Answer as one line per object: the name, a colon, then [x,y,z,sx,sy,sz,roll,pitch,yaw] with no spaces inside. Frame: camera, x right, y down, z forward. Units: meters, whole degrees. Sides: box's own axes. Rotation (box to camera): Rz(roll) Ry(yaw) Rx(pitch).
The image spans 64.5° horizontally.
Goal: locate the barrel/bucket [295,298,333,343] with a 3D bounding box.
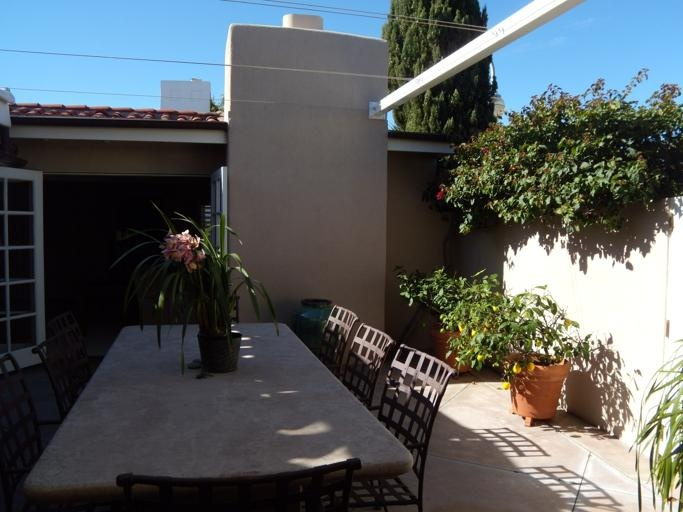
barrel/bucket: [-0.284,0.702,5.740,0.322,0.471,0.427,1,-3,0]
